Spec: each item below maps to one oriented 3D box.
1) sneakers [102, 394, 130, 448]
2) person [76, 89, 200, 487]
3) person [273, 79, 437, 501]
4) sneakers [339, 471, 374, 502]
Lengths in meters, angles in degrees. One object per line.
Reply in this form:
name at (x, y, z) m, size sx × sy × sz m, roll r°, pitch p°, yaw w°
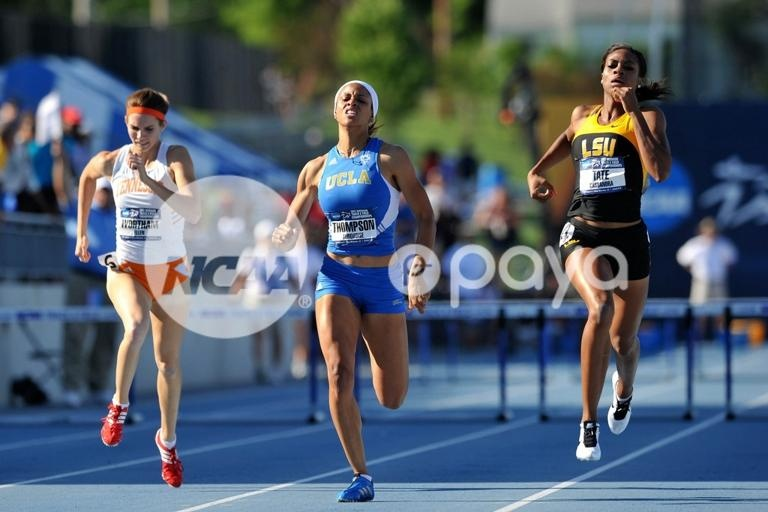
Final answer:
sneakers at (-2.681, 1.652, 11.821) m, size 0.239 × 0.491 × 0.277 m, roll -2°, pitch 3°, yaw -16°
person at (-2.432, 0.352, 11.850) m, size 1.158 × 4.046 × 0.652 m, roll 0°, pitch 3°, yaw 25°
person at (-0.218, 0.336, 11.576) m, size 1.369 × 4.080 × 0.601 m, roll -1°, pitch 2°, yaw -6°
sneakers at (-0.254, 2.268, 11.517) m, size 0.170 × 0.231 × 0.427 m, roll -4°, pitch -11°, yaw 40°
